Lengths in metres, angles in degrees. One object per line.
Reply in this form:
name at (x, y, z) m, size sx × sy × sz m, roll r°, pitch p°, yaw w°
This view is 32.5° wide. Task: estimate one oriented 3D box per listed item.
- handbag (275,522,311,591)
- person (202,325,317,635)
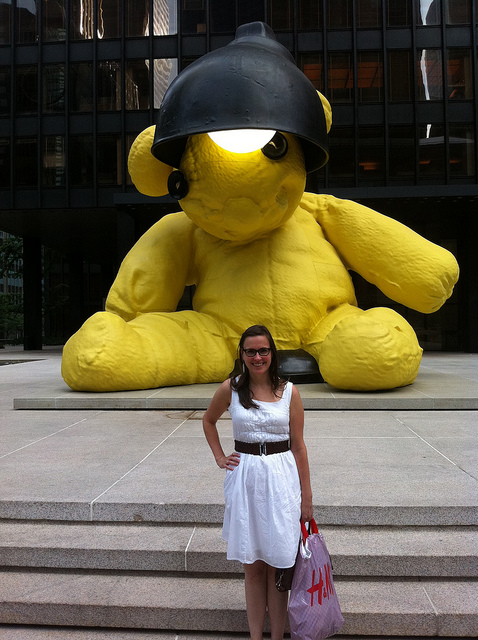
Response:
handbag at (0.192, 0.956, 3.238) m, size 0.183 × 0.202 × 0.172 m, roll -4°, pitch -10°, yaw 10°
person at (0.075, 0.667, 3.195) m, size 0.429 × 1.275 × 0.455 m, roll -1°, pitch 4°, yaw 0°
